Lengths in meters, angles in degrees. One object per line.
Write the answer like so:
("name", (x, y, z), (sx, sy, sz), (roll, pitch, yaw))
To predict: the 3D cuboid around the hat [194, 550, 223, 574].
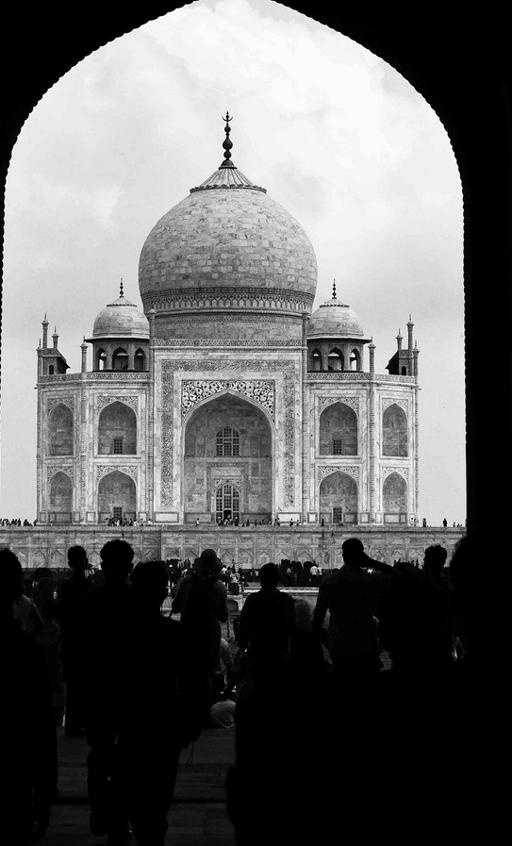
("hat", (-0.202, 0.624, 7.213), (0.085, 0.114, 0.103), (1, -14, -10))
